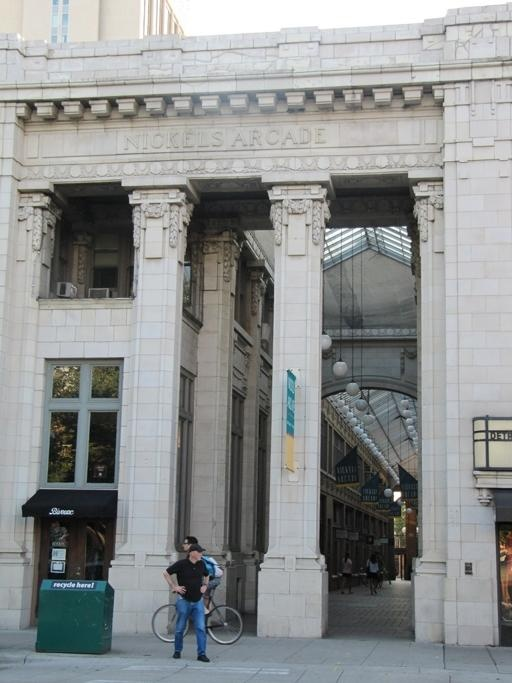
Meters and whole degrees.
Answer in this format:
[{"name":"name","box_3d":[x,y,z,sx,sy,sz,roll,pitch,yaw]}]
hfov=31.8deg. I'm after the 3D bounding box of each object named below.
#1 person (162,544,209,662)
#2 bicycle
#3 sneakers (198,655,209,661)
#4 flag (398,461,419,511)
[{"name":"person","box_3d":[-1.067,4.109,14.099,0.711,1.757,1.369,1,-13,-4]},{"name":"bicycle","box_3d":[-1.079,5.073,16.568,1.692,0.960,0.642,-3,-4,8]},{"name":"sneakers","box_3d":[-0.775,4.772,13.486,0.071,0.078,0.204,16,-25,-35]},{"name":"flag","box_3d":[5.759,5.276,33.327,1.181,1.296,0.047,8,-15,-39]}]
